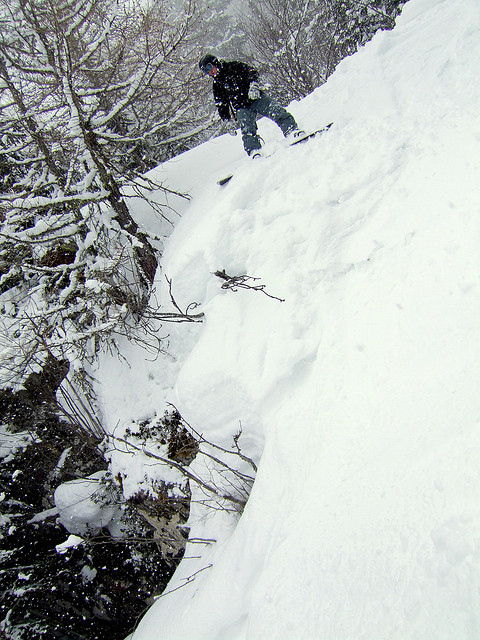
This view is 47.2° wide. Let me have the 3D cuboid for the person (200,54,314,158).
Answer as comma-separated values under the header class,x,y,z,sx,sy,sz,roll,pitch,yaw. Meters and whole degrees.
class,x,y,z,sx,sy,sz,roll,pitch,yaw
person,0.116,-2.612,6.478,0.791,1.319,0.463,-19,27,36
